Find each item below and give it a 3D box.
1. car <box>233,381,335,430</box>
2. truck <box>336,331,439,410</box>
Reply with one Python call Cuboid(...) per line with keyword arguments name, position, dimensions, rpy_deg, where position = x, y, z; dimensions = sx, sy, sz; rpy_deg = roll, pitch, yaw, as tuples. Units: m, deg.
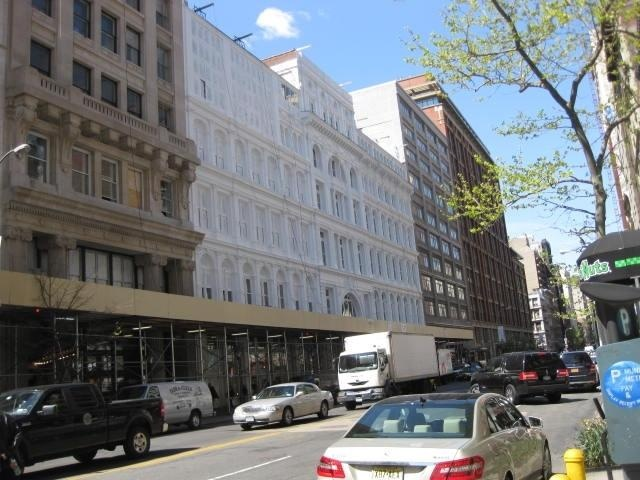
Cuboid(name="car", position=(-1.174, 7.121, 22.813), dimensions=(1.790, 1.363, 4.625), rpy_deg=(-9, -15, 26))
Cuboid(name="truck", position=(4.051, 7.766, 31.757), dimensions=(3.006, 4.168, 8.450), rpy_deg=(-12, -16, 29))
